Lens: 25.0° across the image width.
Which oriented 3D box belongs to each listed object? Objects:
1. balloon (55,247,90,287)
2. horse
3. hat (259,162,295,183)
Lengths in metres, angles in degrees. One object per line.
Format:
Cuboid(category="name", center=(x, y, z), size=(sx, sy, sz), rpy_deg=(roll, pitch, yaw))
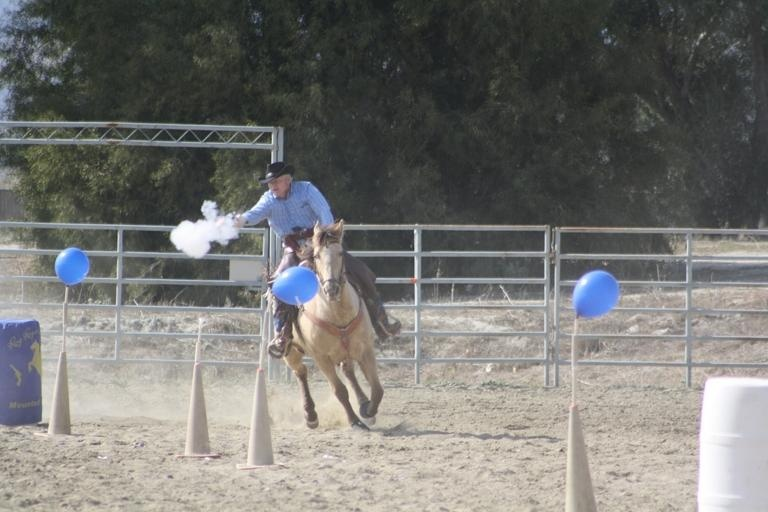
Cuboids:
Cuboid(category="balloon", center=(-7.617, 0.250, 41.909), size=(0.842, 1.057, 0.932), rpy_deg=(5, 6, 22))
Cuboid(category="horse", center=(-1.110, 2.328, 43.244), size=(1.666, 4.799, 6.162), rpy_deg=(-8, -17, -3))
Cuboid(category="hat", center=(-2.657, -2.061, 42.296), size=(0.737, 0.540, 0.627), rpy_deg=(-2, -1, 43))
